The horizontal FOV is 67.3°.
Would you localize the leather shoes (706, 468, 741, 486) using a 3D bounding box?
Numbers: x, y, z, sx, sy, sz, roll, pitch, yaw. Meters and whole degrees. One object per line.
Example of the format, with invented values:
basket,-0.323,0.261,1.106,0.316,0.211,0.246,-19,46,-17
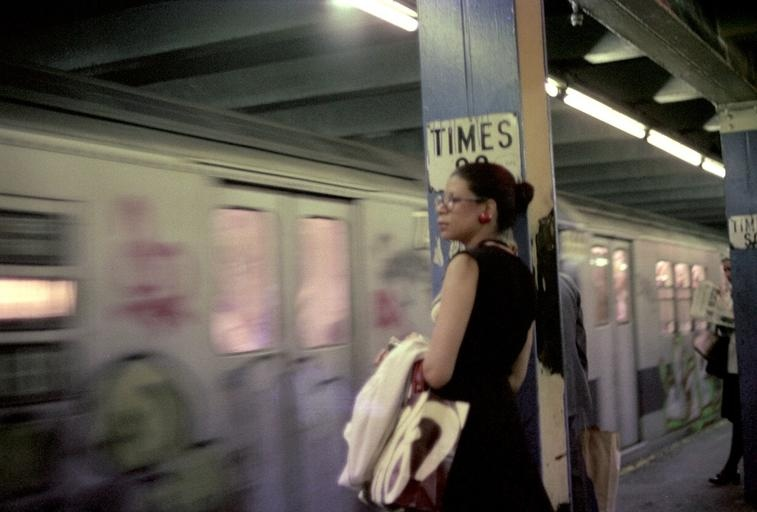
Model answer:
leather shoes,4.011,2.571,6.634,0.437,0.182,0.152,0,-8,4
